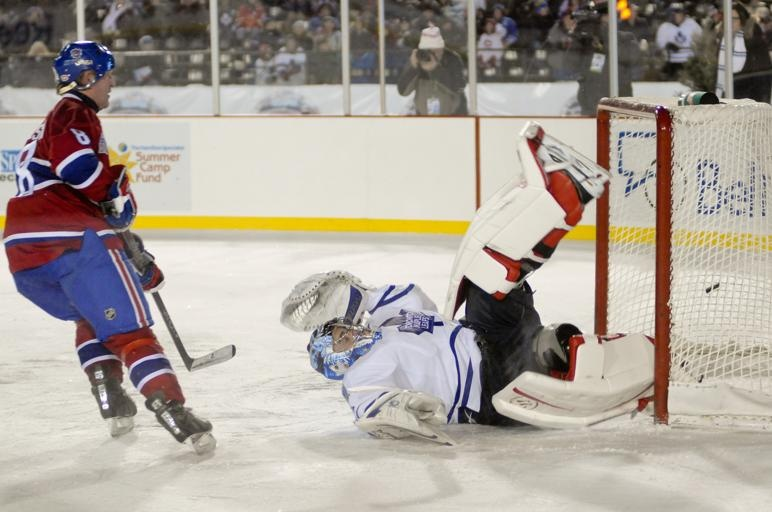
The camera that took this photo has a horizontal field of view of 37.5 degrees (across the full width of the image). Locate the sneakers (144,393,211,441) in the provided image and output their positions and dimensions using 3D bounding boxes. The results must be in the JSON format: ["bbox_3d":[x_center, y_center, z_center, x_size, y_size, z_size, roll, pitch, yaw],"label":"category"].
[{"bbox_3d":[-1.071,0.815,5.806,0.301,0.111,0.231,31,12,-10],"label":"sneakers"}]

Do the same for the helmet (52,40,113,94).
[{"bbox_3d":[-1.611,-0.993,6.150,0.346,0.262,0.250,5,-7,-22],"label":"helmet"}]

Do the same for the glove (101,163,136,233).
[{"bbox_3d":[-1.453,-0.304,6.158,0.223,0.301,0.135,-1,14,-3],"label":"glove"}]

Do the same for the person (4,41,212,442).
[{"bbox_3d":[-1.497,-0.082,5.962,1.008,2.069,0.588,0,8,7],"label":"person"}]

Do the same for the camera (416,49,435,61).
[{"bbox_3d":[0.367,-1.890,10.838,0.090,0.135,0.146,-17,-15,13],"label":"camera"}]

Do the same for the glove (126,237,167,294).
[{"bbox_3d":[-1.368,0.042,6.391,0.133,0.298,0.177,-37,13,-12],"label":"glove"}]

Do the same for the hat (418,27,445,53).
[{"bbox_3d":[0.432,-2.053,10.757,0.261,0.186,0.182,-1,6,-27],"label":"hat"}]
